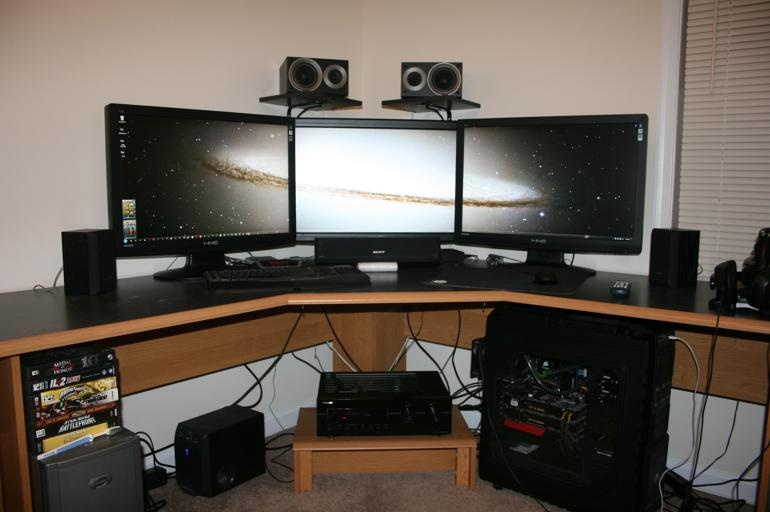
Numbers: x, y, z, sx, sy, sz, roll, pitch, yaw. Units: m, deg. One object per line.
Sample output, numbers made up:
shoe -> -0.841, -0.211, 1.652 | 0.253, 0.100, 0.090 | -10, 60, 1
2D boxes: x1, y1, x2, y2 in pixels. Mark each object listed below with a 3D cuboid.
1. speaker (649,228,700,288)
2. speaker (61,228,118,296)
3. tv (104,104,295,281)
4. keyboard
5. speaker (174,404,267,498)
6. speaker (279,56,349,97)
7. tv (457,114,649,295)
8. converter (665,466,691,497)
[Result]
speaker -> 1.273, -0.001, 2.661 | 0.174, 0.248, 0.175 | -8, 12, -40
speaker -> -1.189, 0.025, 2.445 | 0.194, 0.255, 0.113 | -5, 9, -24
tv -> -0.833, -0.280, 2.654 | 0.816, 0.719, 0.289 | -4, 6, -38
keyboard -> -0.401, 0.088, 2.552 | 0.670, 0.071, 0.234 | -2, 9, -6
speaker -> -0.738, 0.903, 2.891 | 0.293, 0.348, 0.426 | 5, 6, 40
speaker -> -0.283, -0.890, 3.003 | 0.337, 0.164, 0.199 | 7, 13, 19
tv -> 0.794, -0.286, 2.980 | 0.887, 0.770, 0.467 | 4, 1, 14
converter -> 1.329, 1.034, 2.750 | 0.097, 0.059, 0.095 | 4, 3, -30
